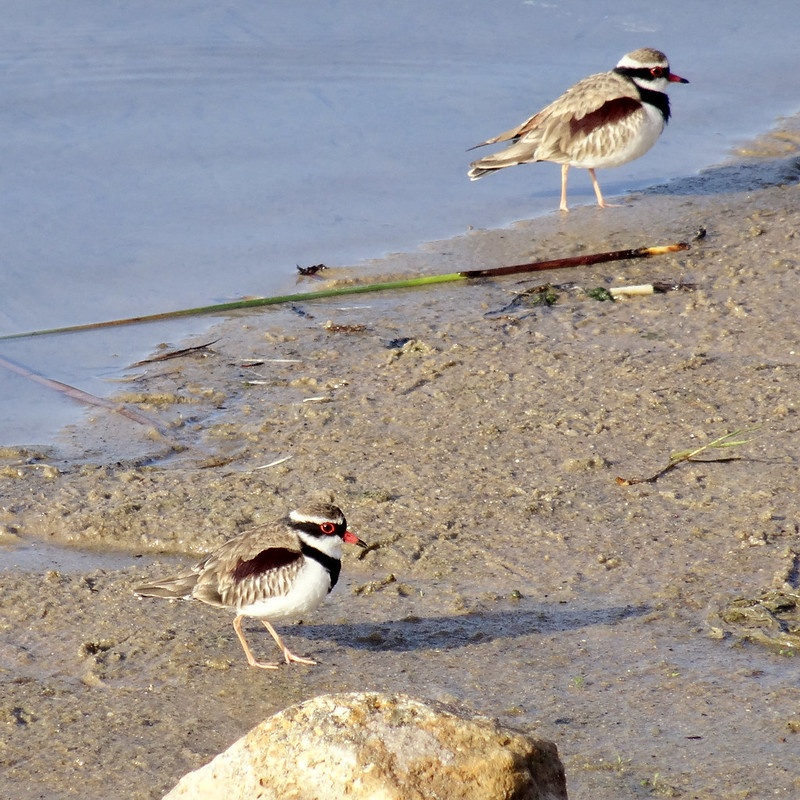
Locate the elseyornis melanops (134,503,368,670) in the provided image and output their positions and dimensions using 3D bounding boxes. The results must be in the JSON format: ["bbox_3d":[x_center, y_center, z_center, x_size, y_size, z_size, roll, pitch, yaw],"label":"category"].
[{"bbox_3d":[-0.792,1.069,6.913,1.412,0.738,0.617,-4,7,17],"label":"elseyornis melanops"}]
